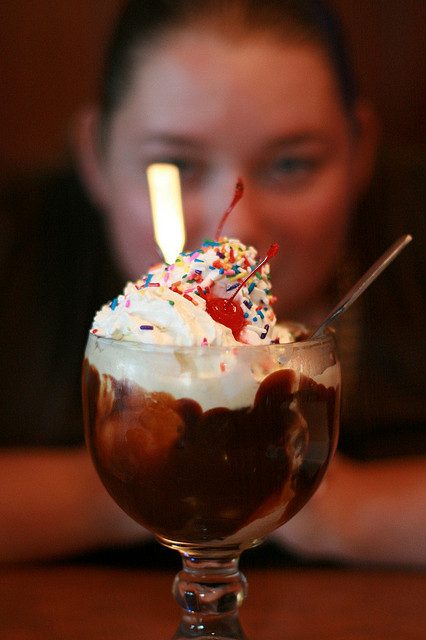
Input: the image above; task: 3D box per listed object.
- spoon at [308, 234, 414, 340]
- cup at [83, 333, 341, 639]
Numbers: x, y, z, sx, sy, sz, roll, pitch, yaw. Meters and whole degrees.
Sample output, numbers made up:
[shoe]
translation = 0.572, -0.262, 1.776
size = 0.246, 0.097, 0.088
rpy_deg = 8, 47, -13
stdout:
[spoon]
translation = 0.192, -0.029, 0.852
size = 0.028, 0.203, 0.199
rpy_deg = 36, 62, 14
[cup]
translation = 0.003, 0.181, 0.806
size = 0.353, 0.322, 0.429
rpy_deg = 1, 93, -4
